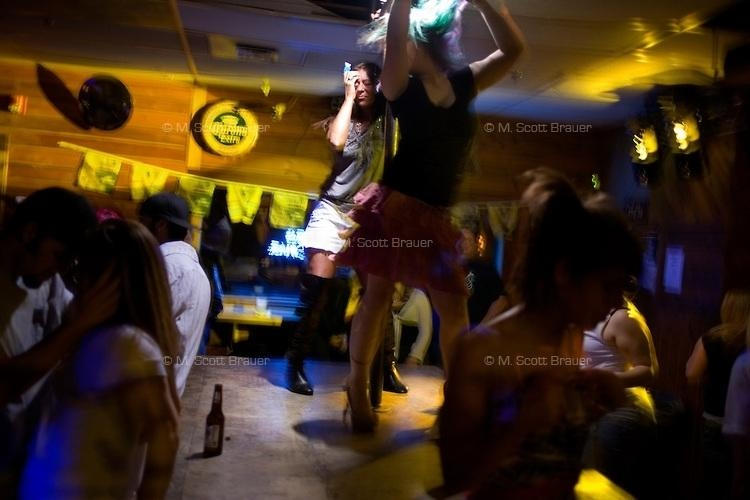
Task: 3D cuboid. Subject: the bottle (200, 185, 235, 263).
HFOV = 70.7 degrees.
[{"bbox_3d":[-0.920,-0.148,3.068,0.250,0.344,0.085,3,-11,30],"label":"bottle"}]
